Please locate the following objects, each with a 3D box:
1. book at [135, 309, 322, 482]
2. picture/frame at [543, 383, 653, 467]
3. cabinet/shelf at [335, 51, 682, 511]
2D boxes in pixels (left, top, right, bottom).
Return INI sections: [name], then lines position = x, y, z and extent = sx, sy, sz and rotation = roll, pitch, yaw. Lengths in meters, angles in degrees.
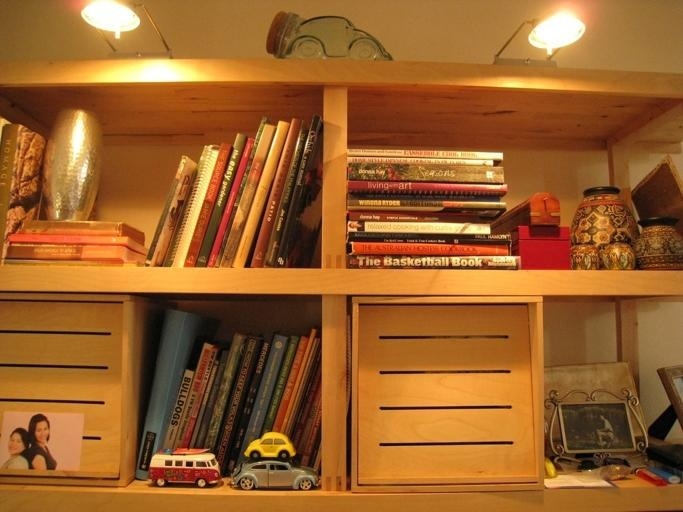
[book]
position = -0.337, 0.424, 1.854
extent = 0.403, 0.407, 0.232
rotation = 7, -7, 0
[picture/frame]
position = 0.762, 0.516, 1.934
extent = 0.269, 0.219, 0.027
rotation = 1, -24, -1
[cabinet/shelf]
position = 0.481, 0.101, 1.887
extent = 1.309, 1.257, 0.437
rotation = 1, -10, -5
